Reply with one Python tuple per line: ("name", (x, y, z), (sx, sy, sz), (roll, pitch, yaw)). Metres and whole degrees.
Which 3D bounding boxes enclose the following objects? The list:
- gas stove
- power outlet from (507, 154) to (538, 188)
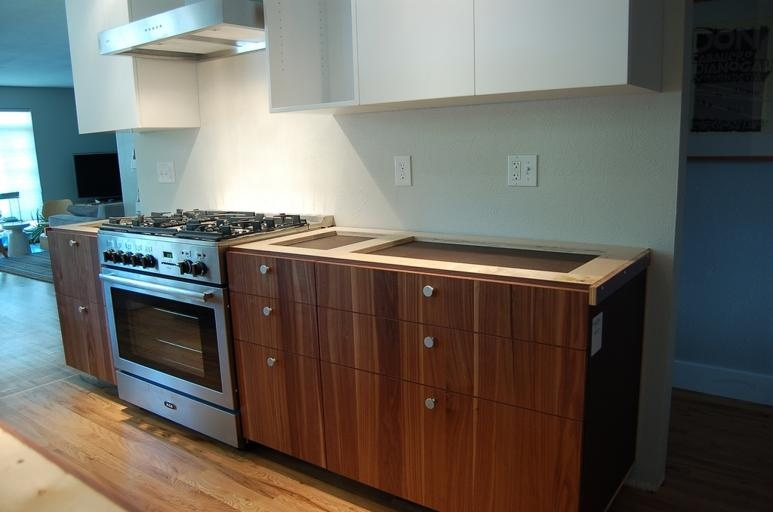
("gas stove", (-0.979, -0.191, 3.198), (1.160, 0.097, 0.684), (5, 15, 28))
("power outlet", (0.646, -0.406, 2.663), (0.169, 0.160, 0.017), (2, 9, 25))
